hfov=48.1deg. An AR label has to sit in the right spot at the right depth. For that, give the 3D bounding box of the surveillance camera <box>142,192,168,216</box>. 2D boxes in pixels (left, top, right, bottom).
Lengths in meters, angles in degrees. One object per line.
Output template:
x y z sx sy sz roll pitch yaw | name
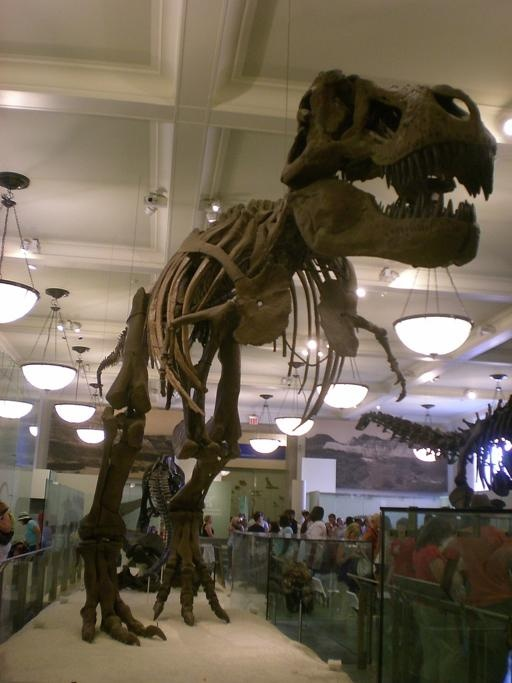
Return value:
-1.023 -1.396 5.822 0.253 0.148 0.263 -1 2 34 | surveillance camera
